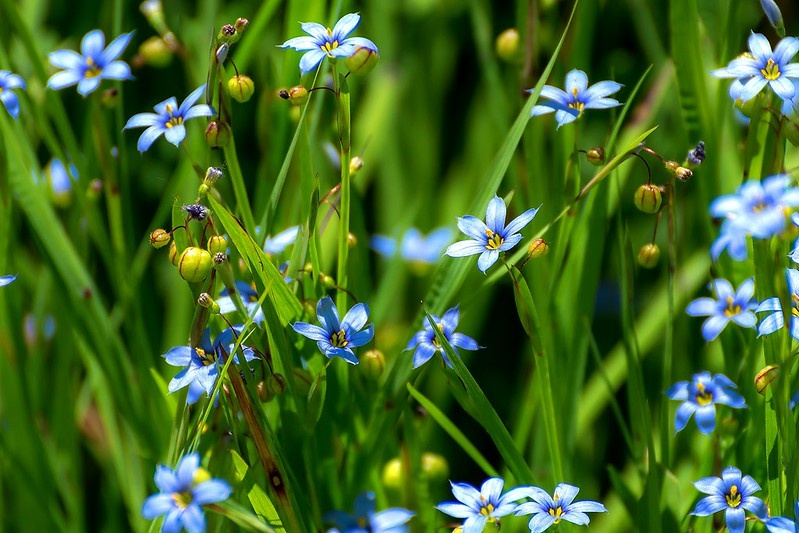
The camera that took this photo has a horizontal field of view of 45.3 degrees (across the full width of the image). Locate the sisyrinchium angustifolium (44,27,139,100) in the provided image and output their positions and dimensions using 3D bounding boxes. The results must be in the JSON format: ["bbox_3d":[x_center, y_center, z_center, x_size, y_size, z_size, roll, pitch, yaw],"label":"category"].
[{"bbox_3d":[-0.562,-0.371,1.741,0.157,0.088,0.201,-20,25,-15],"label":"sisyrinchium angustifolium"}]
